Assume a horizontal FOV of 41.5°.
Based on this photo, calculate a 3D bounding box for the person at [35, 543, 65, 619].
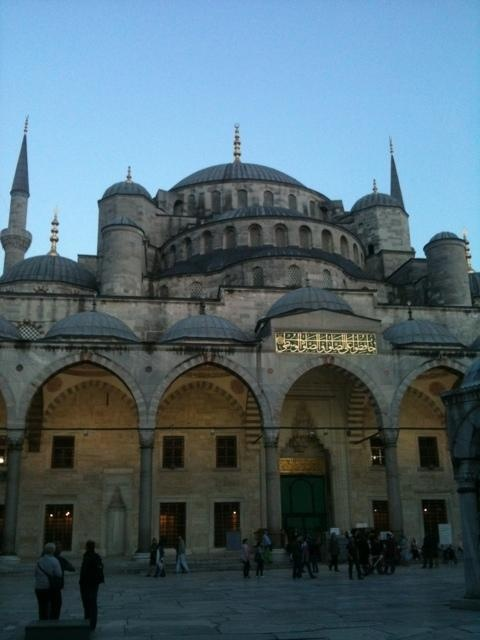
[{"bbox_3d":[-1.951,2.670,6.436,0.258,0.836,0.254,1,7,-10],"label":"person"}]
